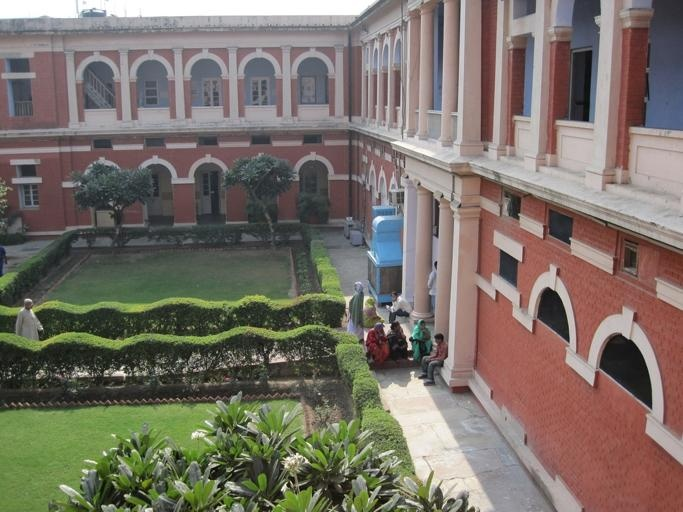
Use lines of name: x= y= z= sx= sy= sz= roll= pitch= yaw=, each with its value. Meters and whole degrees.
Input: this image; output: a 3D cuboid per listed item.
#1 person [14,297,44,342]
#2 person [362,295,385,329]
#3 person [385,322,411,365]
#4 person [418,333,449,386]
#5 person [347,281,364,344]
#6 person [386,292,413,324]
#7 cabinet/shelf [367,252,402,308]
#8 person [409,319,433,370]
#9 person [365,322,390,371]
person: x=-7.123 y=1.439 z=13.388 sx=0.500 sy=0.957 sz=0.478 roll=3 pitch=12 yaw=29
person: x=0.732 y=1.489 z=14.715 sx=0.691 sy=0.838 sz=0.488 roll=-10 pitch=-13 yaw=29
person: x=1.237 y=1.780 z=13.106 sx=0.458 sy=0.946 sz=0.573 roll=-7 pitch=21 yaw=2
person: x=1.918 y=2.116 z=12.228 sx=0.581 sy=0.993 sz=0.545 roll=-3 pitch=11 yaw=-1
person: x=0.324 y=1.359 z=13.659 sx=0.364 sy=1.474 sz=0.597 roll=-3 pitch=11 yaw=0
person: x=1.500 y=1.272 z=15.072 sx=0.556 sy=0.681 sz=1.109 roll=-3 pitch=11 yaw=3
cabinet/shelf: x=1.252 y=0.662 z=16.468 sx=0.629 sy=1.048 sz=1.179 roll=-5 pitch=19 yaw=-12
person: x=1.780 y=1.864 z=12.781 sx=0.433 sy=0.935 sz=0.475 roll=1 pitch=0 yaw=-26
person: x=0.787 y=1.936 z=12.841 sx=0.526 sy=1.004 sz=0.434 roll=-2 pitch=11 yaw=4
